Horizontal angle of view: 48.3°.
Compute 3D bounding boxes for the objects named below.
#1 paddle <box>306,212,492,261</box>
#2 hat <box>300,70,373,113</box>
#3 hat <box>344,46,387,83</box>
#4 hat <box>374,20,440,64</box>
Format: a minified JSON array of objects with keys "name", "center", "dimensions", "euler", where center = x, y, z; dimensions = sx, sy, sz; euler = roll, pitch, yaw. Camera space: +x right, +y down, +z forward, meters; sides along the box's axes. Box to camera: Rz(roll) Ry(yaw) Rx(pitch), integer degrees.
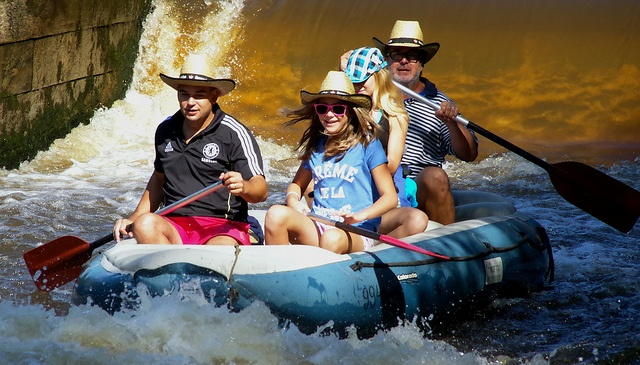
[{"name":"paddle","center":[0.936,0.711,9.086],"dimensions":[2.388,0.281,0.177],"euler":[8,41,-3]},{"name":"hat","center":[0.245,-1.187,9.215],"dimensions":[0.577,0.254,0.674],"euler":[2,-9,12]},{"name":"hat","center":[0.590,-1.580,9.633],"dimensions":[0.409,0.274,0.535],"euler":[-9,23,45]},{"name":"hat","center":[1.317,-2.034,10.581],"dimensions":[0.730,0.301,0.783],"euler":[4,-18,6]}]
